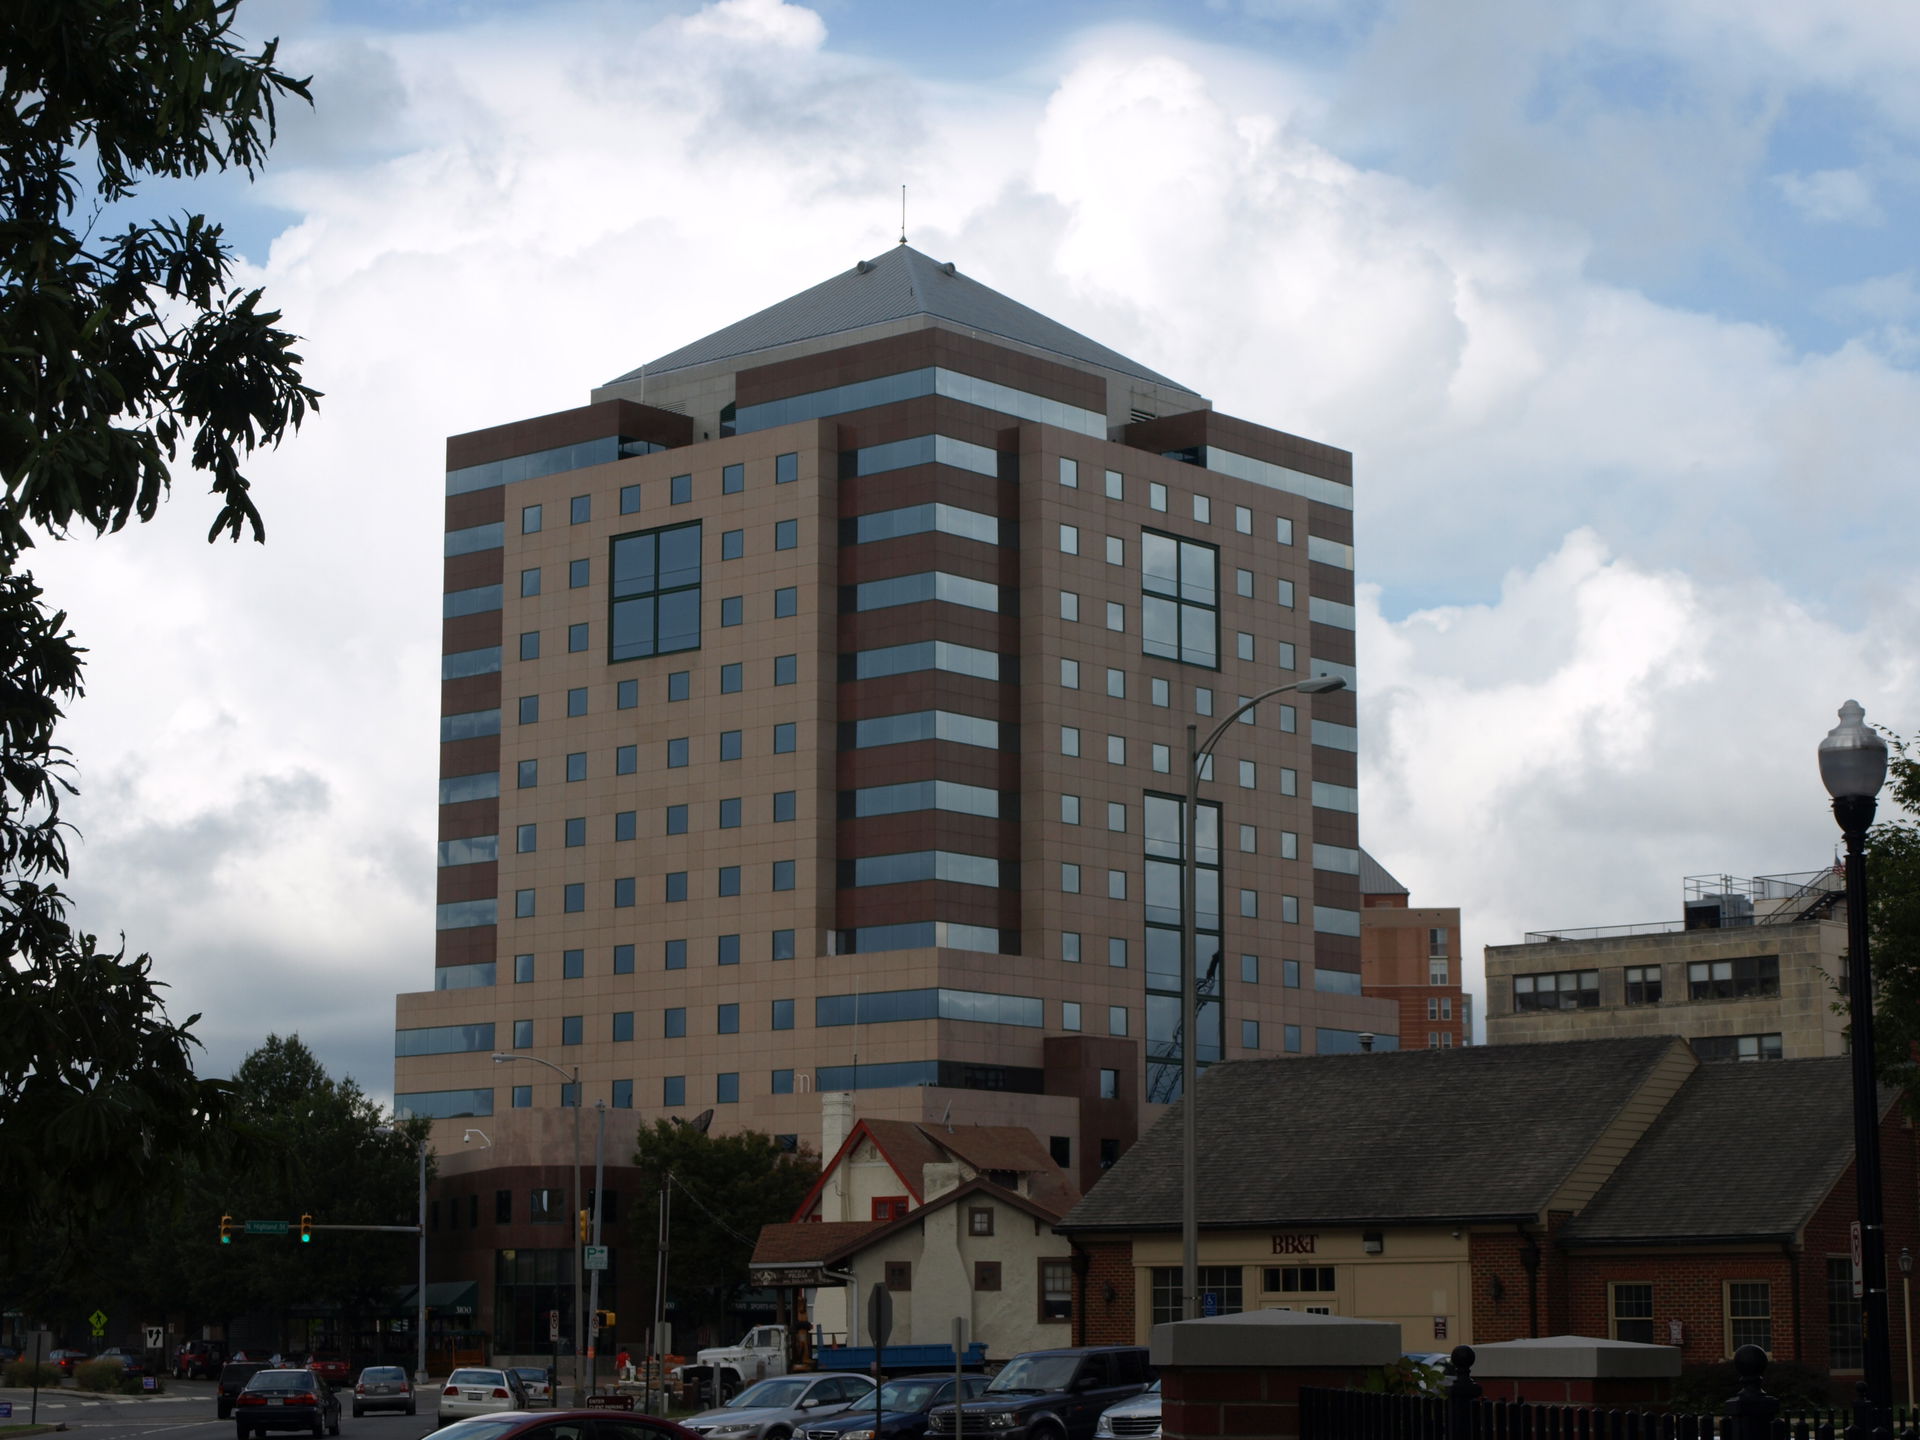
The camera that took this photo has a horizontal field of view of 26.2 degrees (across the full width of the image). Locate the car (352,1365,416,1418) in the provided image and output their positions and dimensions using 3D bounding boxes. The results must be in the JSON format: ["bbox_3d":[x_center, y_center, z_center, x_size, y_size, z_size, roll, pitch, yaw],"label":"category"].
[{"bbox_3d":[-16.886,20.044,122.068,1.638,1.933,3.457,0,-17,-6],"label":"car"}]
